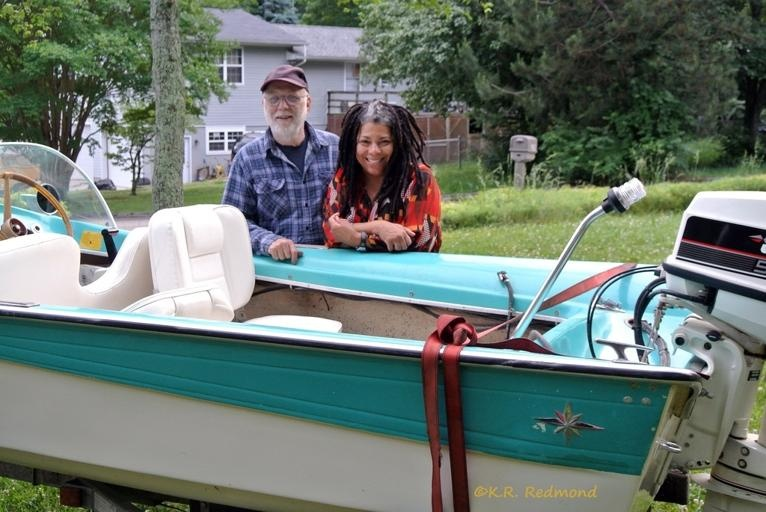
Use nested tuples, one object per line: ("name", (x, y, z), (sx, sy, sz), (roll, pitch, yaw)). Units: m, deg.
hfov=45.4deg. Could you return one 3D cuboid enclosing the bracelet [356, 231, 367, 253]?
("bracelet", (-0.137, -0.097, 5.959), (0.041, 0.113, 0.082), (10, -2, -9))
